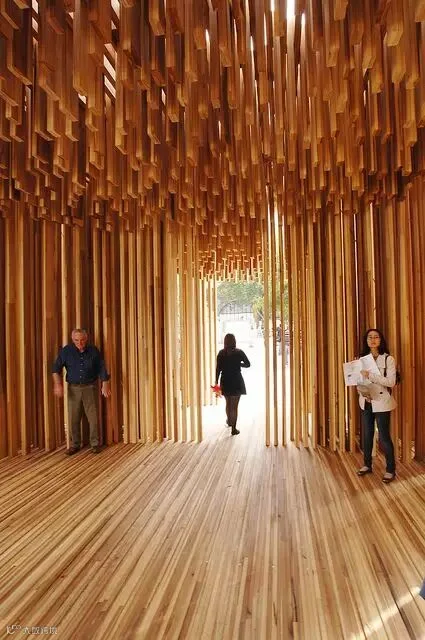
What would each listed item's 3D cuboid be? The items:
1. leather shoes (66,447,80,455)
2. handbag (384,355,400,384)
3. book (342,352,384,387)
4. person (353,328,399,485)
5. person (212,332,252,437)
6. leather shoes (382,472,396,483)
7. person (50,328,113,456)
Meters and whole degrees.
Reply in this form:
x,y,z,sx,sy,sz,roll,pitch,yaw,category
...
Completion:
x,y,z,sx,sy,sz,roll,pitch,yaw,category
-1.506,1.415,5.422,0.092,0.062,0.207,-1,3,4,leather shoes
1.549,0.429,4.364,0.065,0.237,0.195,0,-8,8,handbag
1.344,0.509,4.483,0.074,0.307,0.258,21,-35,-28,book
1.495,0.735,4.530,0.341,1.294,0.516,0,2,25,person
0.230,0.788,6.449,0.426,1.241,0.728,-1,2,-22,person
1.522,1.357,4.344,0.076,0.067,0.196,1,3,36,leather shoes
-1.441,0.771,5.530,0.591,1.349,0.495,-1,2,-23,person
